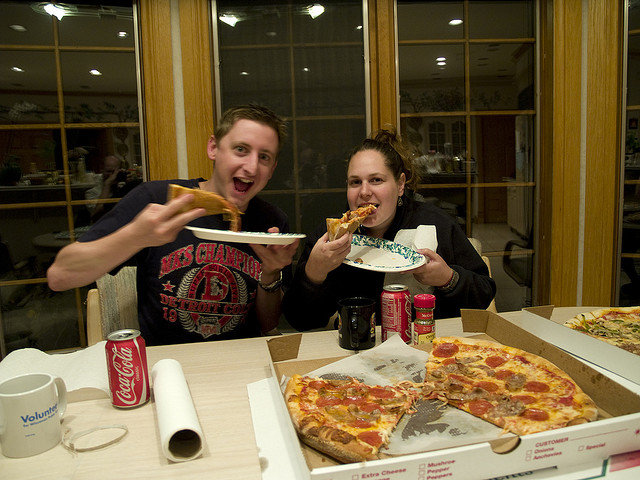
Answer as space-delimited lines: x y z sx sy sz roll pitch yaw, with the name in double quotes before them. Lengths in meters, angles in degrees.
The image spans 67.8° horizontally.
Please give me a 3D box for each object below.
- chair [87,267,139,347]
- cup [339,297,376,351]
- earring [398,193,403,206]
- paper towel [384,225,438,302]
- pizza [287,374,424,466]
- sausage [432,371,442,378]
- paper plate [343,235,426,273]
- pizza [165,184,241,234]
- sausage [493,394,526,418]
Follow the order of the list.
"chair" -1.072 0.338 2.450 0.264 0.354 0.181 -6 8 -23
"cup" 0.147 0.364 1.992 0.176 0.197 0.270 0 15 11
"earring" 0.470 -0.239 2.804 0.026 0.064 0.045 -2 8 10
"paper towel" 0.508 0.123 2.537 0.291 0.384 0.126 14 10 41
"pizza" 0.086 0.610 1.628 0.268 0.036 0.270 10 14 33
"sausage" 0.442 0.513 1.798 0.019 0.008 0.022 -6 14 -44
"paper plate" 0.341 0.072 2.461 0.298 0.031 0.212 10 23 28
"pizza" -0.454 -0.143 1.927 0.247 0.099 0.270 20 0 -44
"sausage" 0.646 0.580 1.647 0.063 0.019 0.060 -18 10 -18
